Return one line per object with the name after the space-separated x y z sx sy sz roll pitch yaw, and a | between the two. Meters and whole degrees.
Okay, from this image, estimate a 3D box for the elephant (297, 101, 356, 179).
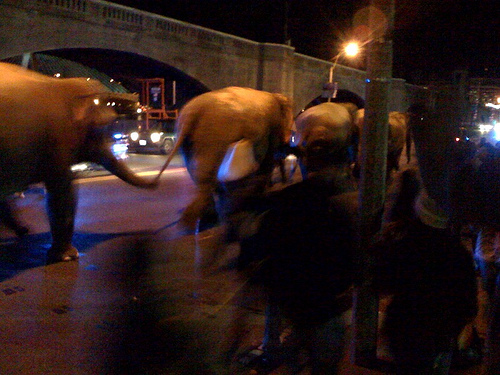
1.610 -1.188 8.858 1.017 1.300 2.245 19 24 29 | elephant

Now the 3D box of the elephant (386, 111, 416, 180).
3.503 -1.222 10.136 0.556 0.862 1.642 -10 -16 17 | elephant

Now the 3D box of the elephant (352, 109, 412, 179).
2.969 -0.993 9.313 1.151 1.393 2.572 8 14 37 | elephant

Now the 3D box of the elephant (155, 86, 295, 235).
-0.128 -0.709 7.345 1.844 2.103 3.866 16 15 19 | elephant
